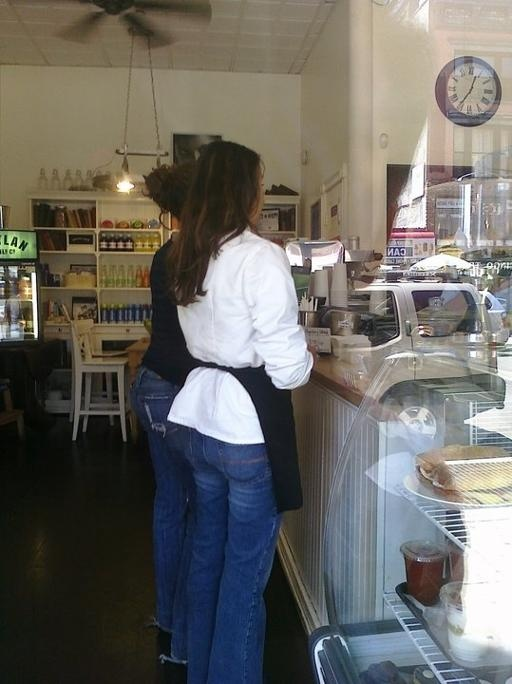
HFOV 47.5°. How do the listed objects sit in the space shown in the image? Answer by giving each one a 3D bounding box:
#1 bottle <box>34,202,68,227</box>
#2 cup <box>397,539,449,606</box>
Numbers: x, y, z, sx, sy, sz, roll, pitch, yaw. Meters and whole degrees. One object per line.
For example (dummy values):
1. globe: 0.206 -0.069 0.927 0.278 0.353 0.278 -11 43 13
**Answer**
1. bottle: -2.108 -1.295 5.991 0.307 0.287 0.267 -3 13 -30
2. cup: 0.240 0.326 0.824 0.078 0.084 0.078 1 18 0
